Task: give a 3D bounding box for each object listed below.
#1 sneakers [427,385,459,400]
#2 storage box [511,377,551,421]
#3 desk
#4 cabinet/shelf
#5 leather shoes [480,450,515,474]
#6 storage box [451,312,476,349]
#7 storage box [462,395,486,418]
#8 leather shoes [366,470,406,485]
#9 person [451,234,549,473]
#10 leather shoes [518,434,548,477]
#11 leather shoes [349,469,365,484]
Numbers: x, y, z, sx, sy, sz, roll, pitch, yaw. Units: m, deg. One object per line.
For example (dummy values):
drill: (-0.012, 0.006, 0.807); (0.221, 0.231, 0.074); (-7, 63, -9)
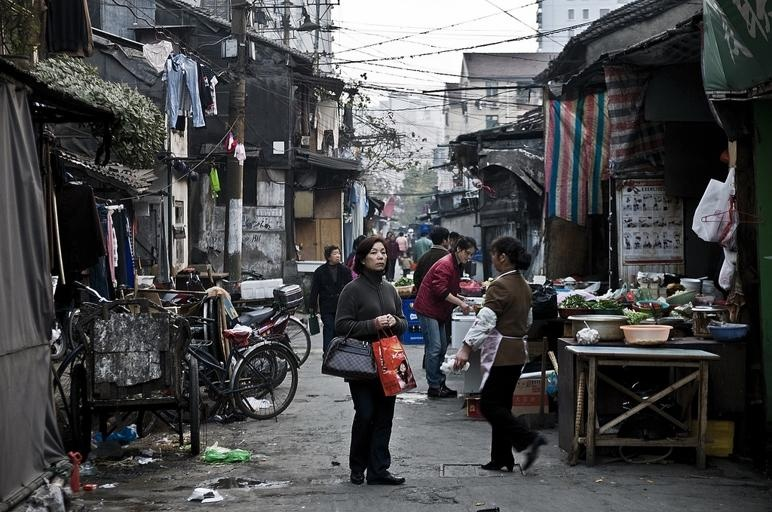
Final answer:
sneakers: (0.834, 2.006, 15.259); (0.423, 0.187, 0.175); (-3, -3, 3)
storage box: (2.016, 1.894, 13.677); (0.640, 0.611, 0.383); (-6, -20, 33)
desk: (2.861, 1.639, 11.916); (1.465, 1.140, 1.434); (1, 0, 0)
cabinet/shelf: (2.972, 1.666, 11.992); (1.618, 1.046, 1.485); (2, -3, -1)
leather shoes: (1.323, 2.363, 11.820); (0.452, 0.291, 0.166); (2, -6, 8)
storage box: (1.163, 1.056, 15.893); (0.446, 0.628, 0.619); (1, 3, 3)
storage box: (1.175, 2.028, 14.045); (0.351, 0.349, 0.345); (-1, -5, -3)
leather shoes: (0.005, 2.470, 11.536); (0.441, 0.206, 0.161); (-2, 0, -3)
person: (1.355, 1.106, 11.993); (0.952, 2.678, 0.725); (0, 1, 0)
leather shoes: (1.667, 2.221, 11.787); (0.275, 0.623, 0.189); (17, 36, 1)
leather shoes: (-0.314, 2.444, 11.492); (0.103, 0.169, 0.171); (2, 10, -5)
